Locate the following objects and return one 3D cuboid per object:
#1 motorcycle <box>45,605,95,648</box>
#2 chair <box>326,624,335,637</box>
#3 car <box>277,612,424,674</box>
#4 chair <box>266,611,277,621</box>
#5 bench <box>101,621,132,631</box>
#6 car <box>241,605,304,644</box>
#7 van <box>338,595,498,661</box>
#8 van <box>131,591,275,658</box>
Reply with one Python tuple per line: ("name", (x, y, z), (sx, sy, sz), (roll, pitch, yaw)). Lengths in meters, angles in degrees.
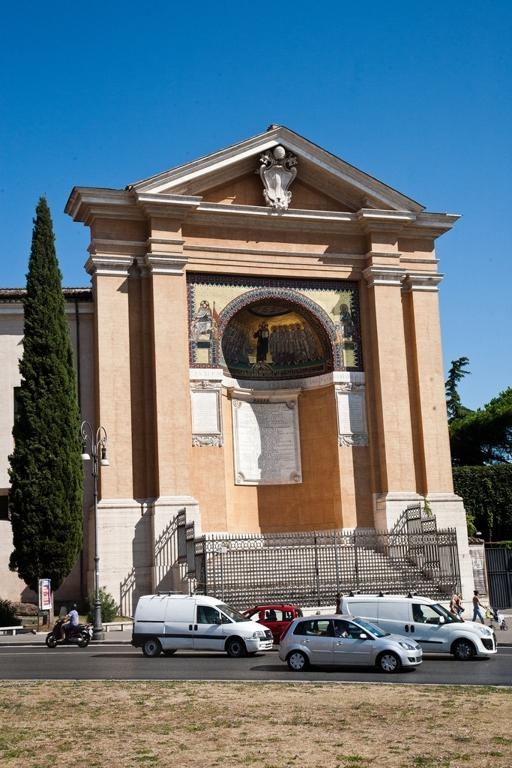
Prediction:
("motorcycle", (-4.564, 6.156, 25.694), (1.386, 0.837, 0.643), (-5, -34, 12))
("chair", (1.401, 4.547, 19.140), (0.183, 0.287, 0.171), (-1, -3, 4))
("car", (1.741, 4.754, 19.081), (2.337, 0.788, 1.103), (-3, -10, 13))
("chair", (0.395, 5.600, 25.061), (0.189, 0.204, 0.191), (2, -23, 2))
("bench", (-4.011, 6.937, 29.676), (0.802, 0.201, 1.418), (-2, -9, -6))
("car", (0.457, 5.879, 24.967), (2.105, 0.927, 1.125), (1, -11, 9))
("van", (3.588, 5.189, 22.411), (3.171, 1.213, 1.478), (-1, -8, 4))
("van", (-1.189, 5.234, 22.583), (2.725, 1.044, 1.394), (-3, -11, 8))
